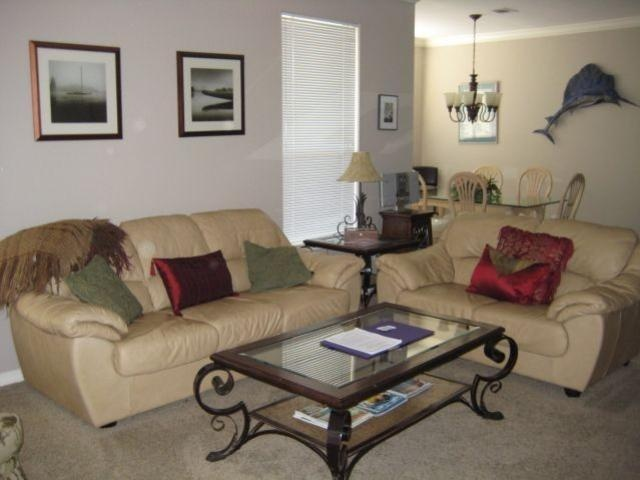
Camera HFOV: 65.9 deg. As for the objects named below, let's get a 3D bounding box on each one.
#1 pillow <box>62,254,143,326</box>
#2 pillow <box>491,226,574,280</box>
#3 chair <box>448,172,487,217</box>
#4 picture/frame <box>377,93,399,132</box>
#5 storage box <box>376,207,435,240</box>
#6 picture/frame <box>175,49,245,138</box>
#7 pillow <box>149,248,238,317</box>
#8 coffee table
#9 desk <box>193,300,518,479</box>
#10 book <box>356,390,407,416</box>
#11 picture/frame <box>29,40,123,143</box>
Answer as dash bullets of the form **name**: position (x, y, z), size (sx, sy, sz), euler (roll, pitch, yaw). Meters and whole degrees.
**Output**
- **pillow**: position (-1.426, 0.356, 3.313), size (0.346, 0.452, 0.315), euler (-1, 15, 13)
- **pillow**: position (1.692, 0.054, 3.917), size (0.508, 0.295, 0.148), euler (17, -7, 33)
- **chair**: position (1.766, -0.562, 5.913), size (0.576, 0.532, 0.460), euler (8, 18, 39)
- **picture/frame**: position (0.830, -1.550, 5.970), size (0.021, 0.398, 0.336), euler (-12, 20, -31)
- **storage box**: position (1.021, -0.242, 5.934), size (0.449, 0.473, 0.534), euler (-13, 17, -43)
- **picture/frame**: position (-1.016, -1.344, 4.448), size (0.900, 0.852, 0.073), euler (-9, 16, -38)
- **pillow**: position (-0.934, 0.308, 3.728), size (0.621, 0.400, 0.181), euler (-8, -17, -45)
- **coffee table**: position (0.402, 0.166, 5.192), size (0.948, 0.815, 0.894), euler (-7, 12, -29)
- **desk**: position (0.208, 0.877, 2.965), size (1.675, 0.678, 0.988), euler (-13, 16, -36)
- **book**: position (0.349, 0.913, 2.757), size (0.218, 0.041, 0.151), euler (-9, 9, -42)
- **picture/frame**: position (-1.887, -1.150, 3.764), size (0.881, 0.828, 0.066), euler (-9, 18, -37)
